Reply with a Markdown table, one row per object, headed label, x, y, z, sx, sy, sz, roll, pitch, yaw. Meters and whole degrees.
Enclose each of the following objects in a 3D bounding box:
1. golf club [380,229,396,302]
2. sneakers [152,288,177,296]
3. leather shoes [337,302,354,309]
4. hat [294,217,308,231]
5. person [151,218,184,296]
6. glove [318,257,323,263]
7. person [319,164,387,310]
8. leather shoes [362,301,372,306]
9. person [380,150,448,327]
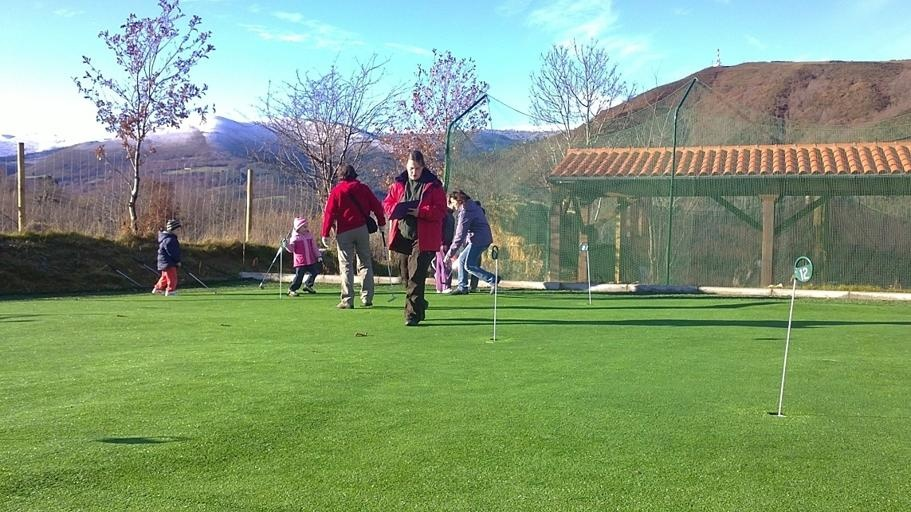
| label | x | y | z | sx | sy | sz | roll | pitch | yaw |
| --- | --- | --- | --- | --- | --- | --- | --- | --- | --- |
| golf club | -1.766 | 0.264 | 21.514 | 0.212 | 1.805 | 0.333 | -6 | 5 | -11 |
| sneakers | -7.012 | 0.866 | 19.693 | 0.459 | 0.171 | 0.157 | -1 | 1 | -8 |
| leather shoes | -2.162 | 0.969 | 16.069 | 0.278 | 0.113 | 0.133 | 2 | -2 | 5 |
| hat | -3.790 | -0.810 | 20.002 | 0.356 | 0.265 | 0.265 | 0 | 3 | 25 |
| person | -7.049 | 0.005 | 19.963 | 0.560 | 1.825 | 1.373 | 3 | -3 | -20 |
| glove | -3.481 | 0.081 | 21.025 | 0.099 | 0.155 | 0.427 | 15 | 3 | -8 |
| person | -2.062 | -0.425 | 16.517 | 1.230 | 2.968 | 1.523 | 3 | -3 | -9 |
| leather shoes | -1.748 | 0.954 | 16.319 | 0.180 | 0.068 | 0.060 | 4 | 34 | -19 |
| person | -0.765 | -0.341 | 14.602 | 0.931 | 3.122 | 1.074 | 4 | -3 | -31 |
